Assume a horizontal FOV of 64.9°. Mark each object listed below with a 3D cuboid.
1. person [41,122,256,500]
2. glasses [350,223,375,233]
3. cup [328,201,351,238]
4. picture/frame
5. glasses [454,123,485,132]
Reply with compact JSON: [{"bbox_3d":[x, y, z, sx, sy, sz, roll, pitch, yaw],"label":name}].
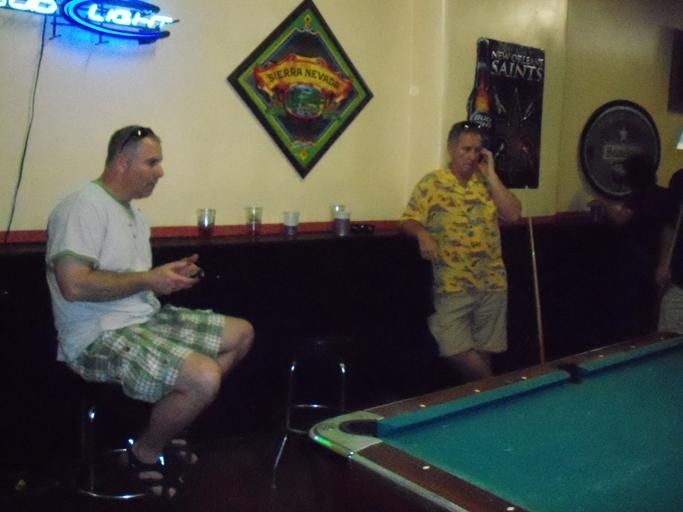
[{"bbox_3d":[-0.936,0.323,2.576,0.923,1.847,0.547,0,11,-11],"label":"person"},{"bbox_3d":[0.138,-0.186,3.587,0.153,0.050,0.105,5,12,12],"label":"glasses"},{"bbox_3d":[0.003,-0.236,3.555,0.175,0.274,0.187,-1,8,0],"label":"cup"},{"bbox_3d":[-0.308,-1.103,3.483,1.199,1.229,0.083,-4,8,-34],"label":"picture/frame"},{"bbox_3d":[0.776,-0.795,3.312,0.162,0.057,0.081,5,12,9],"label":"glasses"}]
